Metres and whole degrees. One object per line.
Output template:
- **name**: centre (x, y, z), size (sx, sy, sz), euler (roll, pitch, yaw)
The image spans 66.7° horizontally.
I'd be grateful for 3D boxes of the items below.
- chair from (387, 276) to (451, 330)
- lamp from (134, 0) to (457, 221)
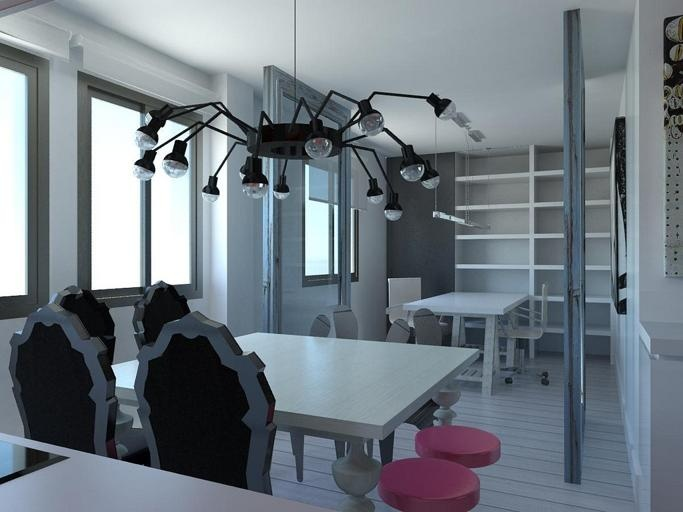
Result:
- **chair**: centre (0.922, 0.562, 7.192), size (0.831, 0.855, 0.676), euler (0, 0, -40)
- **lamp**: centre (-0.454, -1.201, 4.103), size (1.190, 1.317, 1.143), euler (-7, -11, 35)
